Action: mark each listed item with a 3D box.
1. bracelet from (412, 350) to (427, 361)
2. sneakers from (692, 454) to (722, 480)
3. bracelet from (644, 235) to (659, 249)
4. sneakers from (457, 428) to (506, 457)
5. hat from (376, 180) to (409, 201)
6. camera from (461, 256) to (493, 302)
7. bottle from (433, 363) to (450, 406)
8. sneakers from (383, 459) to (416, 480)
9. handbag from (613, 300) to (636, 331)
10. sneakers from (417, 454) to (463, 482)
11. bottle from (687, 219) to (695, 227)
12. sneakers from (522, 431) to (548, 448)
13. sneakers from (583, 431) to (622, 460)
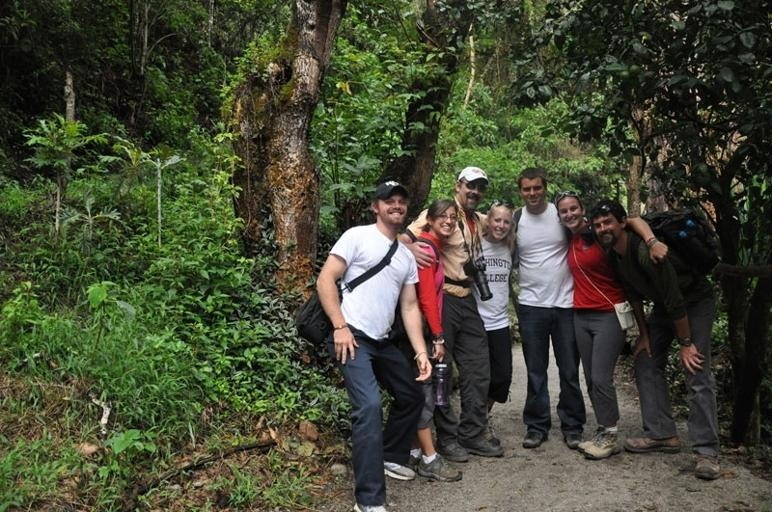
[{"bbox_3d":[0.341,1.033,6.503,0.119,0.071,0.157,22,-23,-38],"label":"bracelet"},{"bbox_3d":[3.410,2.216,6.680,0.269,0.246,0.376,3,10,29],"label":"sneakers"},{"bbox_3d":[2.798,-0.151,6.627,0.102,0.078,0.098,-8,9,-40],"label":"bracelet"},{"bbox_3d":[1.100,2.151,7.215,0.433,0.224,0.239,2,0,12],"label":"sneakers"},{"bbox_3d":[0.038,-0.631,6.397,0.268,0.205,0.441,12,-6,-5],"label":"hat"},{"bbox_3d":[1.062,0.282,7.208,0.303,0.513,0.311,8,-37,-24],"label":"camera"},{"bbox_3d":[0.612,1.415,6.989,0.240,0.461,0.110,1,1,4],"label":"bottle"},{"bbox_3d":[0.141,2.306,6.763,0.407,0.196,0.177,7,-3,11],"label":"sneakers"},{"bbox_3d":[2.657,0.653,7.057,0.254,0.326,0.102,-15,-8,-26],"label":"handbag"},{"bbox_3d":[0.587,2.285,6.763,0.443,0.218,0.232,6,-3,4],"label":"sneakers"},{"bbox_3d":[3.199,-0.346,6.615,0.079,0.070,0.044,-5,9,-21],"label":"bottle"},{"bbox_3d":[1.752,2.152,7.378,0.319,0.166,0.197,-1,9,1],"label":"sneakers"},{"bbox_3d":[2.436,2.136,7.115,0.414,0.211,0.249,0,-2,-22],"label":"sneakers"}]
